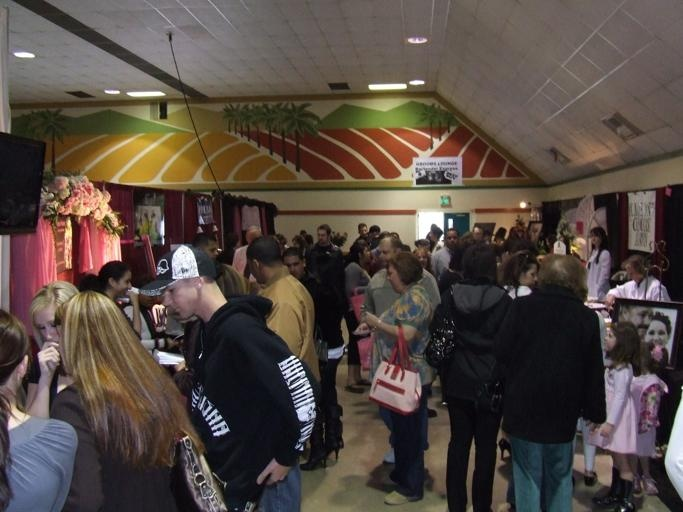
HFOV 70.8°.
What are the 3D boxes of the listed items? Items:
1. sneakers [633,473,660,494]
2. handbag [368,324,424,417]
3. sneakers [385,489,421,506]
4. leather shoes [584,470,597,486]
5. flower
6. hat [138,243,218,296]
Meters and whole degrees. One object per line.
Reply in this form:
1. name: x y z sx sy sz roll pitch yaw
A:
1. sneakers: 2.402 1.819 3.817 0.101 0.116 0.279 -6 -28 22
2. handbag: 0.415 0.815 3.496 0.360 0.573 0.179 8 0 41
3. sneakers: 0.472 1.861 3.771 0.285 0.150 0.110 3 1 -3
4. leather shoes: 2.034 1.808 3.941 0.059 0.079 0.176 -3 -1 14
5. flower: -2.456 -0.456 4.550 0.257 0.458 0.906 -3 -14 19
6. hat: -0.694 0.051 2.106 0.290 0.186 0.195 -6 1 -10
